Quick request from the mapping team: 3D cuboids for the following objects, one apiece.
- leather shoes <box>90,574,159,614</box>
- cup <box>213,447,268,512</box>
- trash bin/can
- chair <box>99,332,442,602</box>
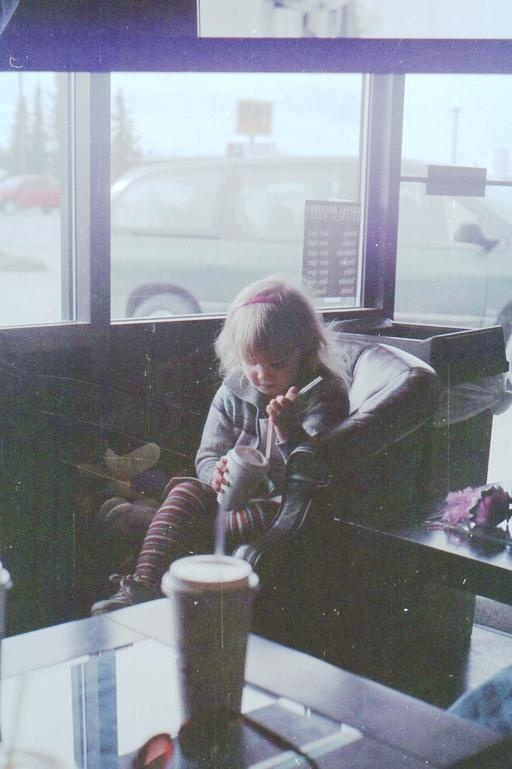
[{"bbox_3d":[-0.273,0.453,1.875,0.174,0.071,0.058,-8,-1,-2],"label":"leather shoes"},{"bbox_3d":[-0.025,0.186,1.753,0.073,0.101,0.068,33,14,-9],"label":"cup"},{"bbox_3d":[0.371,0.039,1.784,0.334,0.398,0.285,-5,3,-41],"label":"trash bin/can"},{"bbox_3d":[-0.002,0.153,1.807,0.809,0.361,0.507,-24,20,-30],"label":"chair"}]
